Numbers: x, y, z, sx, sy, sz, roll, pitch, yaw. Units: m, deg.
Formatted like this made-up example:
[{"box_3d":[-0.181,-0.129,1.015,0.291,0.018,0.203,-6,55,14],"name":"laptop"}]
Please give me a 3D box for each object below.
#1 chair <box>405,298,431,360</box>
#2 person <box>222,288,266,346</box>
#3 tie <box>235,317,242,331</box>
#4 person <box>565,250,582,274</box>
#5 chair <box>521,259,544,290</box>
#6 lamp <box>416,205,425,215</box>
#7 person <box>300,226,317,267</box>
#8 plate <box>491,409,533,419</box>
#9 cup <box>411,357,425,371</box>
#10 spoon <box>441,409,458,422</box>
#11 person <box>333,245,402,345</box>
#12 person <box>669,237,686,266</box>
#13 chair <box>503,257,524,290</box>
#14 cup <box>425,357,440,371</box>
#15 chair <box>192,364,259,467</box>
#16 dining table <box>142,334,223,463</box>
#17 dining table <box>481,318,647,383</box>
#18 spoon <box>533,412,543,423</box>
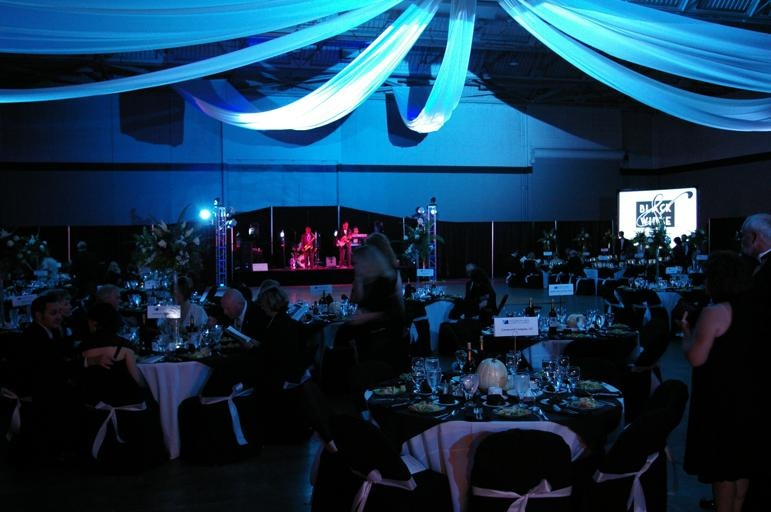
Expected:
[{"box_3d":[0.504,1.195,10.915,0.360,0.894,0.752,1,4,19],"name":"chair"},{"box_3d":[-1.830,0.734,8.636,0.526,0.619,1.163,-2,4,-12],"name":"person"},{"box_3d":[-1.925,0.876,8.804,0.033,0.130,0.134,12,9,27],"name":"tie"},{"box_3d":[5.052,0.156,17.825,0.384,0.528,0.854,0,4,15],"name":"person"},{"box_3d":[4.222,0.496,19.349,0.424,0.796,0.764,-3,4,-26],"name":"chair"},{"box_3d":[0.697,-0.911,13.170,0.190,0.226,0.240,-2,-8,1],"name":"lamp"},{"box_3d":[-2.174,-0.226,18.722,0.398,1.104,0.617,0,4,11],"name":"person"},{"box_3d":[1.241,1.518,6.542,0.372,0.071,0.166,0,4,9],"name":"plate"},{"box_3d":[0.342,1.113,6.970,0.123,0.119,0.123,-1,1,0],"name":"cup"},{"box_3d":[0.650,1.512,6.530,0.057,0.055,0.329,16,15,32],"name":"spoon"},{"box_3d":[-0.117,0.427,7.835,0.664,1.129,0.272,-1,4,-4],"name":"person"},{"box_3d":[6.949,-0.108,15.869,0.362,0.634,1.033,1,4,24],"name":"person"},{"box_3d":[3.820,0.442,19.726,0.444,0.879,0.625,0,4,6],"name":"chair"},{"box_3d":[0.486,1.109,6.967,0.127,0.123,0.129,2,-1,0],"name":"cup"},{"box_3d":[-2.000,1.949,8.334,1.003,1.044,0.905,1,-1,18],"name":"chair"},{"box_3d":[-2.335,1.671,8.202,1.035,1.242,1.039,1,2,13],"name":"dining table"},{"box_3d":[2.344,1.150,8.177,1.100,0.649,1.116,0,-5,3],"name":"dining table"},{"box_3d":[1.499,1.540,6.508,0.092,0.052,0.147,0,4,6],"name":"spoon"}]
